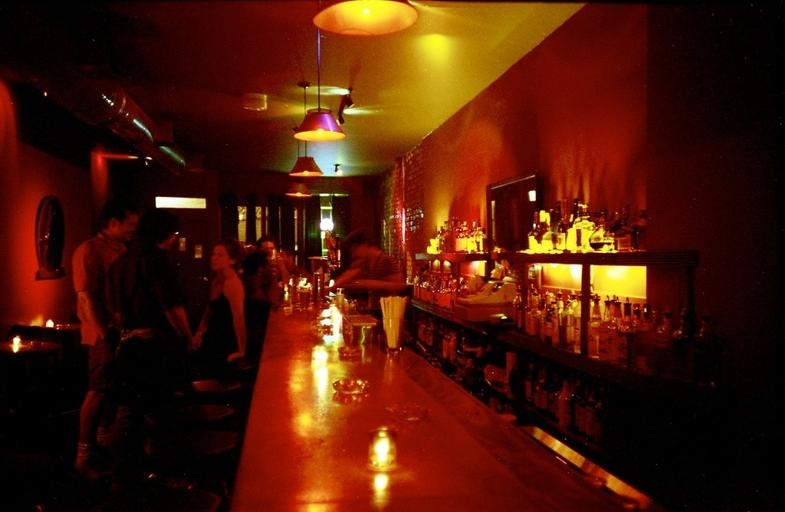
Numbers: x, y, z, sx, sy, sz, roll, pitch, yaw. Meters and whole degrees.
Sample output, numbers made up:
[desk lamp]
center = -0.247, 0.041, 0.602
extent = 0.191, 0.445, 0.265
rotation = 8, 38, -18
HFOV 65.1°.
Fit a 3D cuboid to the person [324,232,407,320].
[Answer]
[person]
center = -0.264, 0.176, 6.985
extent = 0.776, 0.917, 1.255
rotation = 2, -4, 12
